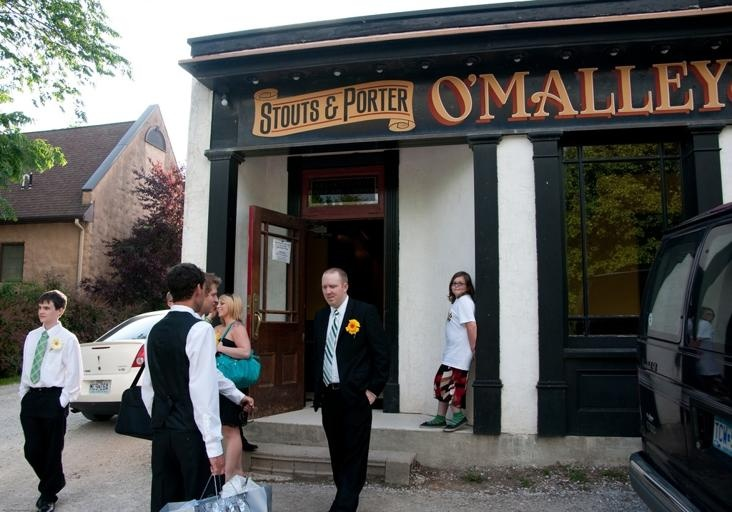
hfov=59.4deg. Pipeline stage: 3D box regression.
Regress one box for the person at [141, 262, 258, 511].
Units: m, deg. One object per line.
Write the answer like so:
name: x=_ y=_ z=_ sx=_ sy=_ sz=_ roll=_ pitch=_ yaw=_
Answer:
person: x=-1.656 y=1.178 z=5.731 sx=0.673 sy=2.104 sz=0.999 roll=-4 pitch=12 yaw=-15

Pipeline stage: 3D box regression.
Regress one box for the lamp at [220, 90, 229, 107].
lamp: x=-2.026 y=-2.237 z=9.177 sx=0.108 sy=0.172 sz=0.039 roll=-1 pitch=4 yaw=0

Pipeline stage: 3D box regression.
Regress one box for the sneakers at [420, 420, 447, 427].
sneakers: x=0.877 y=2.225 z=8.479 sx=0.313 sy=0.104 sz=0.118 roll=2 pitch=-8 yaw=-2

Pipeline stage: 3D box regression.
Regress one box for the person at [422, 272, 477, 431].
person: x=1.136 y=1.342 z=8.542 sx=0.673 sy=2.137 sz=0.976 roll=2 pitch=12 yaw=16

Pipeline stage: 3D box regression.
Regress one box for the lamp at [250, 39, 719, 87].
lamp: x=2.413 y=-2.469 z=8.386 sx=3.467 sy=0.528 sz=0.174 roll=-1 pitch=14 yaw=8

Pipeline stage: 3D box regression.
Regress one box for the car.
car: x=-3.580 y=1.654 z=10.730 sx=1.363 sy=1.311 sz=2.711 roll=0 pitch=0 yaw=13

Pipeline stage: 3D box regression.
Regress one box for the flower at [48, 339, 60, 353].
flower: x=-3.510 y=1.010 z=7.236 sx=0.126 sy=0.134 sz=0.036 roll=24 pitch=-17 yaw=0
